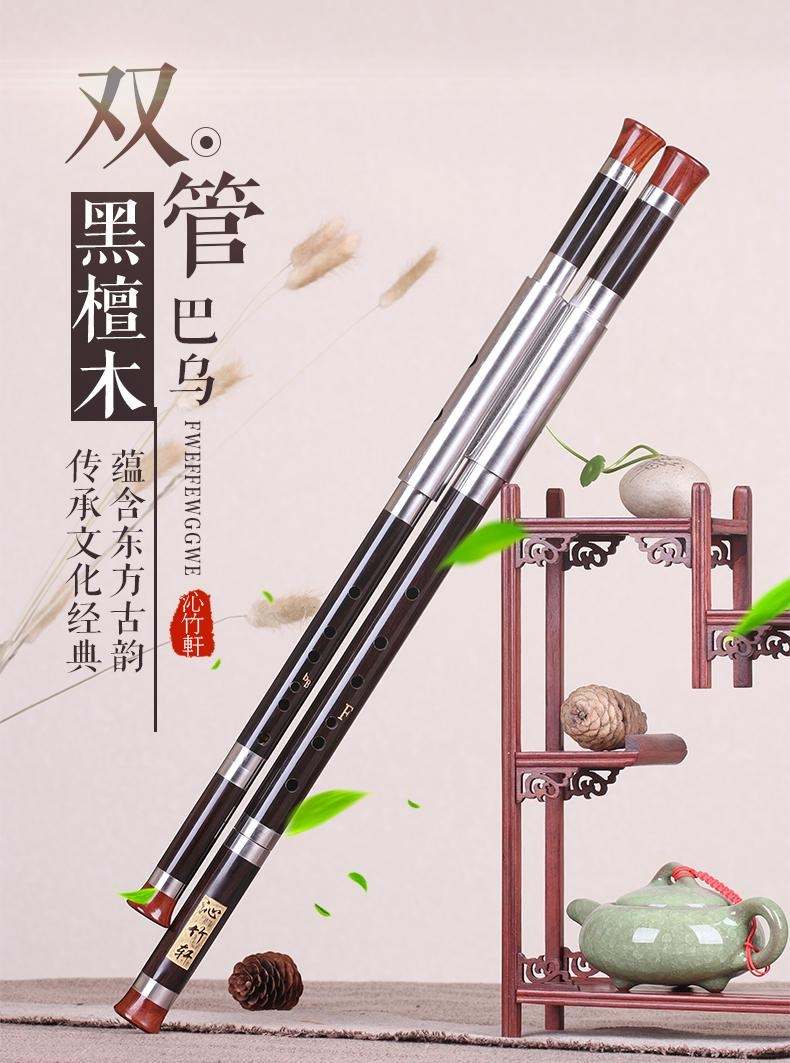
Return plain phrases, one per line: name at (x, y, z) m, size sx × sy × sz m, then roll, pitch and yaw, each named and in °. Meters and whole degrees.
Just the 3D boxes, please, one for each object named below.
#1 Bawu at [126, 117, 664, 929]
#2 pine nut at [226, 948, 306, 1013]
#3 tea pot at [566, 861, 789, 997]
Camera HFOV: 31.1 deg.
Bawu at (0.006, -0.021, 2.001) m, size 0.615 × 1.034 × 0.561 m, roll -4°, pitch 9°, yaw -4°
pine nut at (-0.173, 0.599, 1.893) m, size 0.096 × 0.077 × 0.041 m, roll -5°, pitch -54°, yaw -6°
tea pot at (0.316, 0.466, 1.662) m, size 0.310 × 0.133 × 0.193 m, roll 1°, pitch -6°, yaw 1°
